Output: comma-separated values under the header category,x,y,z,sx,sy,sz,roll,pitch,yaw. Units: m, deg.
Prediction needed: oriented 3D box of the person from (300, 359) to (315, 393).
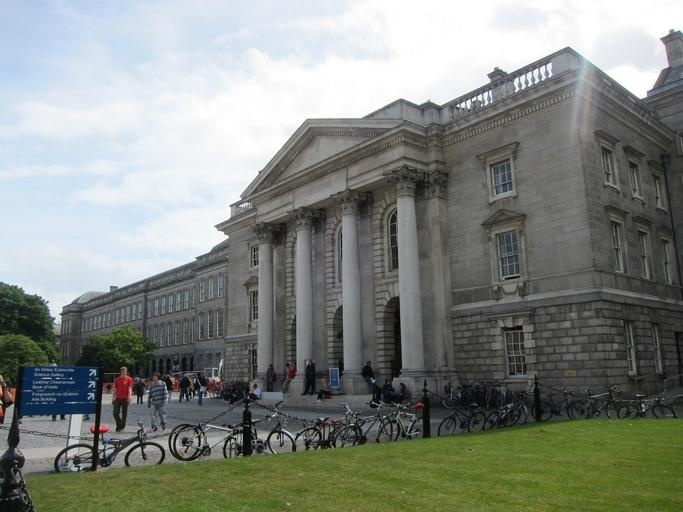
category,x,y,z,sx,sy,sz,roll,pitch,yaw
person,-2.092,7.544,36.152,0.755,2.255,1.135,1,-18,-8
